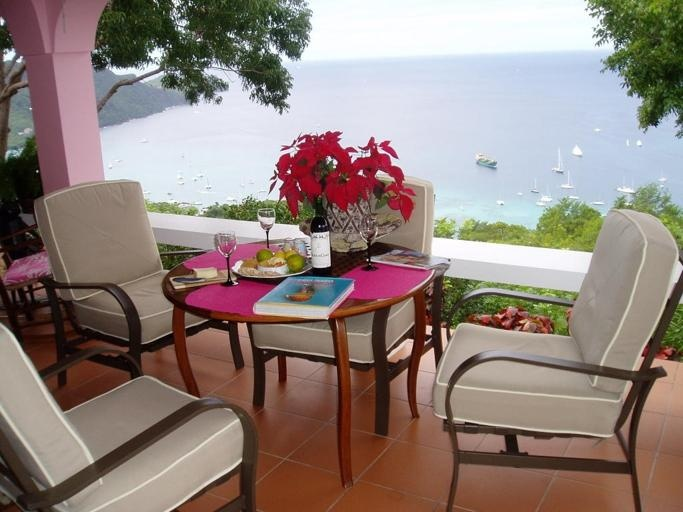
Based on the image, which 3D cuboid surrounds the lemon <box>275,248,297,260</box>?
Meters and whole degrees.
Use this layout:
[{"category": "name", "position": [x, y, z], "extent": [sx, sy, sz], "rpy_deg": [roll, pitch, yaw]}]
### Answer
[{"category": "lemon", "position": [-0.281, -0.015, 2.578], "extent": [0.073, 0.036, 0.071], "rpy_deg": [-2, 6, -4]}]

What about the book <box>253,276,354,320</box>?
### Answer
[{"category": "book", "position": [-0.153, 0.175, 2.207], "extent": [0.349, 0.085, 0.387], "rpy_deg": [7, 17, 18]}]

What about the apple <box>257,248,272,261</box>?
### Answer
[{"category": "apple", "position": [-0.387, -0.009, 2.524], "extent": [0.061, 0.062, 0.059], "rpy_deg": [0, 4, 11]}]

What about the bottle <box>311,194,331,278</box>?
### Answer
[{"category": "bottle", "position": [-0.101, -0.054, 2.469], "extent": [0.107, 0.284, 0.167], "rpy_deg": [1, 17, -1]}]

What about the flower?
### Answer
[{"category": "flower", "position": [-0.013, -0.421, 2.510], "extent": [0.551, 0.302, 0.554], "rpy_deg": [15, 31, 30]}]

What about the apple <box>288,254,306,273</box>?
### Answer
[{"category": "apple", "position": [-0.220, 0.035, 2.510], "extent": [0.089, 0.090, 0.082], "rpy_deg": [-5, 5, -34]}]

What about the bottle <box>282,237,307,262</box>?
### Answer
[{"category": "bottle", "position": [-0.246, -0.036, 2.675], "extent": [0.114, 0.112, 0.116], "rpy_deg": [0, 8, 9]}]

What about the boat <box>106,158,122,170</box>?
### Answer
[{"category": "boat", "position": [-7.959, -3.245, 17.575], "extent": [0.337, 0.334, 0.336], "rpy_deg": [3, 29, 1]}]

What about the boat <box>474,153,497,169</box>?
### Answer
[{"category": "boat", "position": [4.682, -3.076, 16.190], "extent": [0.726, 0.304, 0.341], "rpy_deg": [19, 54, 22]}]
